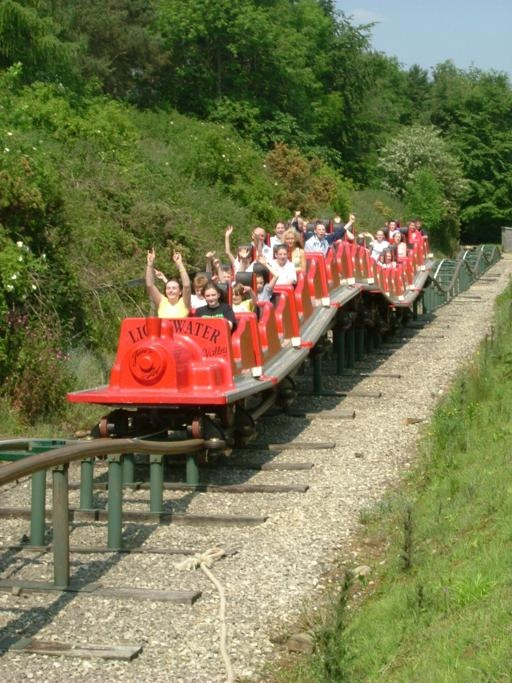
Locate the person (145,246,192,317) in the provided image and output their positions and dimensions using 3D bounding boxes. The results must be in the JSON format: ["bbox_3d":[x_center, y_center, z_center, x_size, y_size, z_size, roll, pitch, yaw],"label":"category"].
[{"bbox_3d":[-0.925,-0.624,9.260,0.463,0.781,0.988,-1,12,-4],"label":"person"}]
